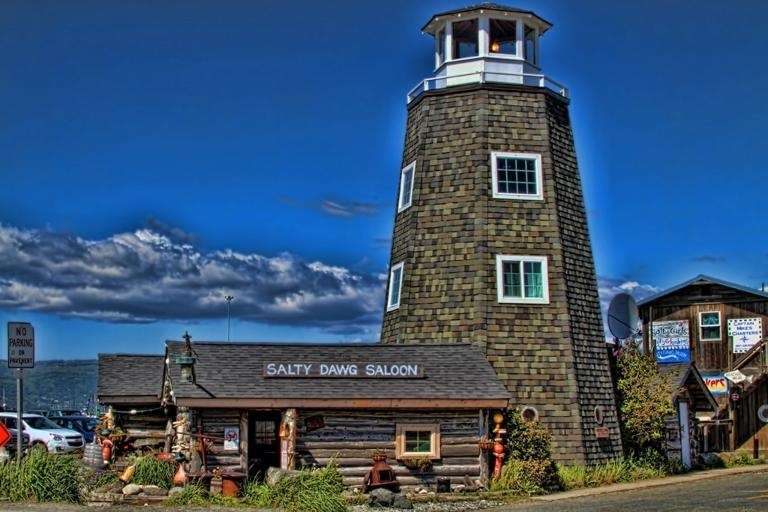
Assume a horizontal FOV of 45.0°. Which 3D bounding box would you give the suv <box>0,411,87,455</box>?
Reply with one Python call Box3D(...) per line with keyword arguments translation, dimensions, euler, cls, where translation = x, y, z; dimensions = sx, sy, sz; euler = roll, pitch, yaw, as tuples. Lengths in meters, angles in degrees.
Box3D(translation=(-14.497, 7.779, 40.562), dimensions=(4.761, 1.854, 2.248), euler=(-2, -3, 16), cls="suv")
